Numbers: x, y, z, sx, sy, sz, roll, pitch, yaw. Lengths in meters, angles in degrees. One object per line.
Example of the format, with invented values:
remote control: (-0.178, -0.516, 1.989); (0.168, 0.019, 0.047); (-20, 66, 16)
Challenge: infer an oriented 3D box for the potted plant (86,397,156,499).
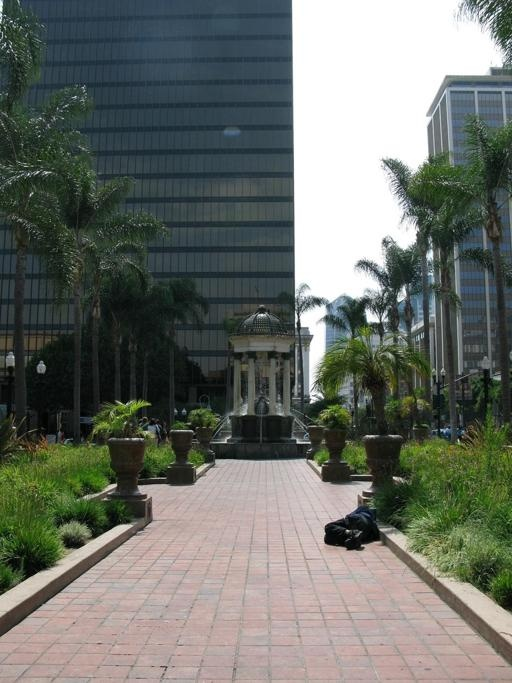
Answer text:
potted plant: (-2.085, 1.781, 9.067); (0.845, 1.549, 1.166); (-11, -14, -15)

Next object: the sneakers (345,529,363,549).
sneakers: (1.259, 2.581, 7.204); (0.107, 0.160, 0.346); (0, -4, -1)

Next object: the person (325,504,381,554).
person: (1.310, 2.562, 7.517); (0.422, 0.454, 1.009); (17, -15, 20)
